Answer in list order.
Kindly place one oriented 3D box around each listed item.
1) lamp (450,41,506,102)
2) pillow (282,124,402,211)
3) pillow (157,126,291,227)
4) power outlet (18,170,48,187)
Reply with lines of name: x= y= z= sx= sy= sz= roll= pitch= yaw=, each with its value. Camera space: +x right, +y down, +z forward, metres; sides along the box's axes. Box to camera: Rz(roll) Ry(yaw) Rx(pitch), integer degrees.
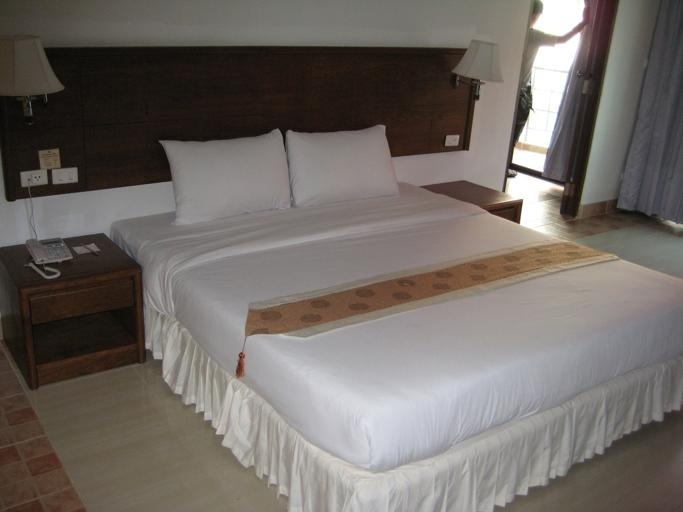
lamp: x=1.112 y=-1.626 z=4.167 sx=0.494 sy=0.562 sz=0.490 roll=-1 pitch=26 yaw=-8
pillow: x=0.003 y=-0.667 z=3.631 sx=0.757 sy=0.623 sz=0.188 roll=-5 pitch=-8 yaw=-33
pillow: x=-0.809 y=-0.513 z=3.278 sx=0.567 sy=0.413 sz=0.204 roll=-11 pitch=20 yaw=-28
power outlet: x=-1.876 y=-0.474 z=2.969 sx=0.098 sy=0.078 sz=0.010 roll=-7 pitch=17 yaw=-36
